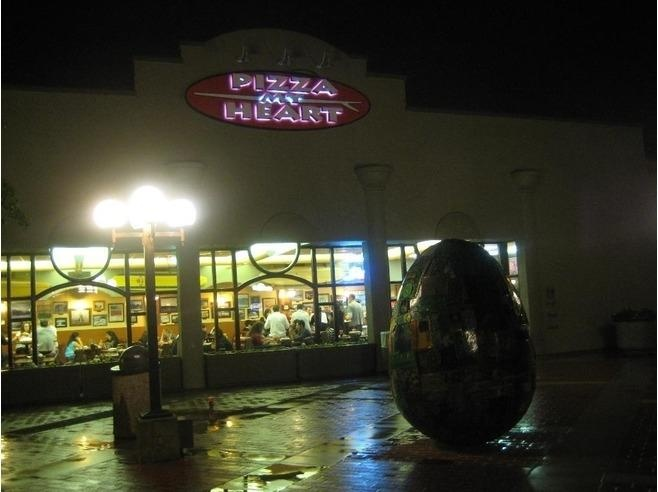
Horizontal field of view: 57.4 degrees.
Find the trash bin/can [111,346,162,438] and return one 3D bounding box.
[{"bbox_3d":[-3.749,2.756,11.335,0.656,1.684,0.665,-1,-7,-21],"label":"trash bin/can"}]
